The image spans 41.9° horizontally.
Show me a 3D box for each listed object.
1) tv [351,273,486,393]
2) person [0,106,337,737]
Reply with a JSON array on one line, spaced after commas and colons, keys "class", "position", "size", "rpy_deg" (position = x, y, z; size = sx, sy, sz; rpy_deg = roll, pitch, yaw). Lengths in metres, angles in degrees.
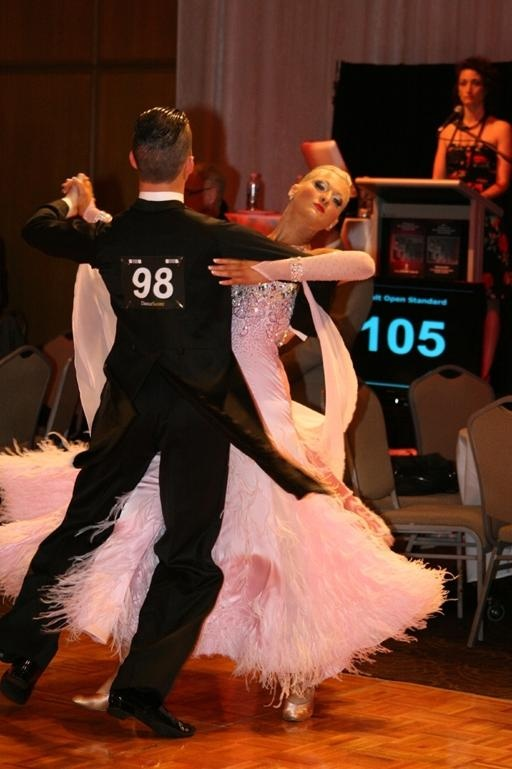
[{"class": "tv", "position": [1.063, -0.333, 4.292], "size": [0.864, 0.596, 0.111], "rpy_deg": [3, 2, 15]}, {"class": "person", "position": [-0.223, 0.115, 1.586], "size": [0.711, 1.390, 0.340], "rpy_deg": [-1, -10, 20]}]
